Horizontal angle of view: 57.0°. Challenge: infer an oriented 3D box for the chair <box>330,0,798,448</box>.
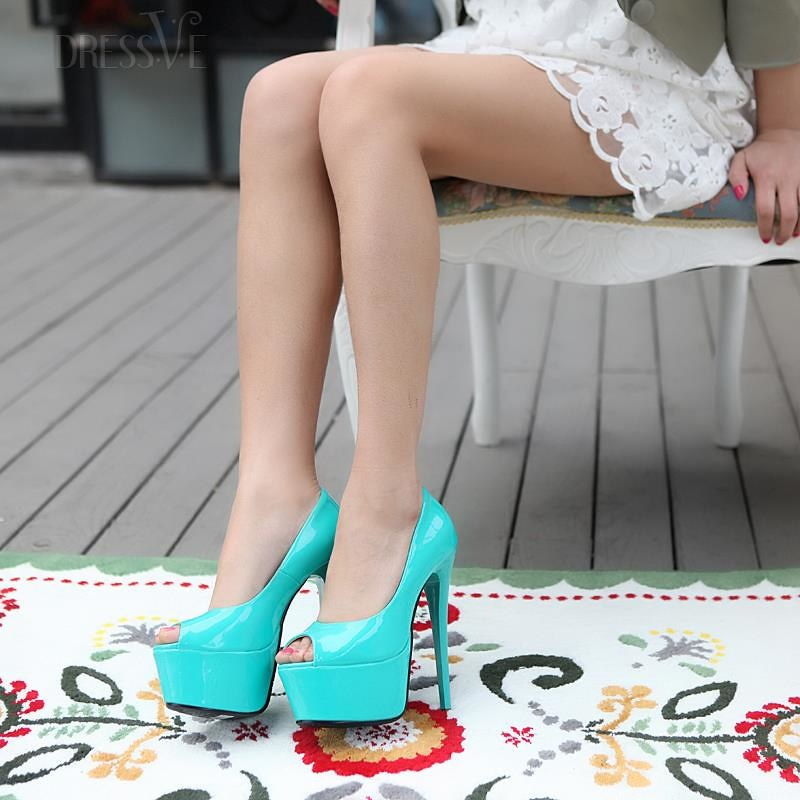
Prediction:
[{"bbox_3d":[0.224,-0.271,1.257,0.709,0.825,0.635,-1,32,4],"label":"chair"}]
